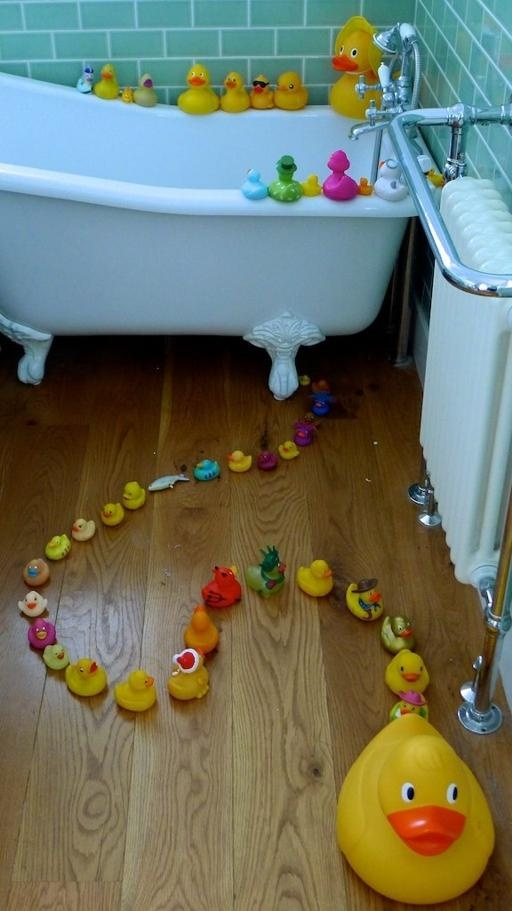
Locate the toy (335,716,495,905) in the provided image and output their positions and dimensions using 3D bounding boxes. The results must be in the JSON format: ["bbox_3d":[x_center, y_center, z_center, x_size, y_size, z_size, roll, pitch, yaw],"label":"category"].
[{"bbox_3d":[0.213,0.441,0.865,0.164,0.181,0.264,1,38,-5],"label":"toy"}]
